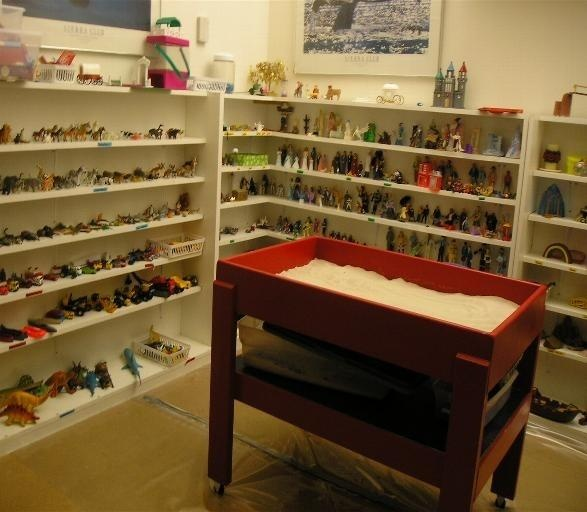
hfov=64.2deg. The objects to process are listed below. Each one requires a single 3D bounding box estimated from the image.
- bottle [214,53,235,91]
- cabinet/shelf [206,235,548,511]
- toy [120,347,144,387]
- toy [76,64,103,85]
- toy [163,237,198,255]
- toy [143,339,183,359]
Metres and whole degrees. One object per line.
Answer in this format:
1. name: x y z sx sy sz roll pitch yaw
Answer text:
1. bottle: -0.569 -1.508 3.857 0.166 0.303 0.246 0 12 -15
2. cabinet/shelf: 0.365 0.635 2.291 1.081 0.965 0.725 22 23 39
3. toy: -1.250 0.857 3.630 0.116 0.090 0.388 -35 37 4
4. toy: -1.284 -1.134 2.943 0.140 0.145 0.266 -3 14 -25
5. toy: -0.910 -0.073 3.793 0.143 0.077 0.215 13 22 39
6. toy: -1.049 0.758 3.861 0.197 0.073 0.137 20 17 21
